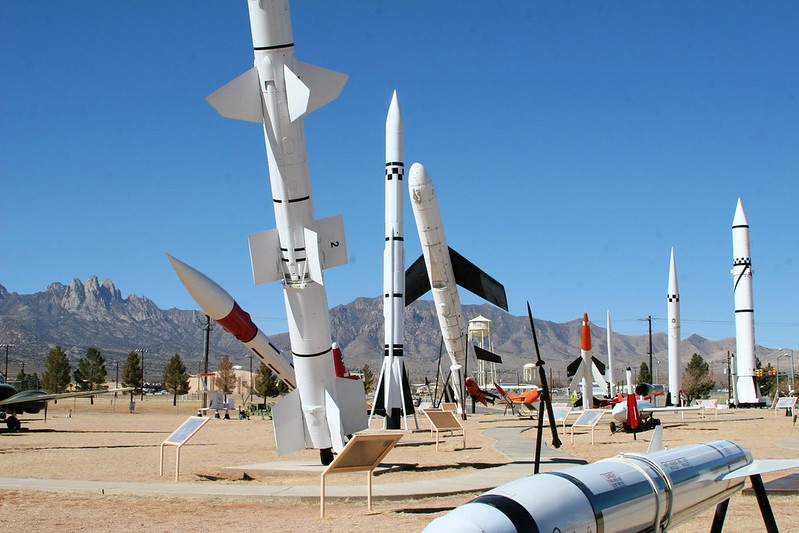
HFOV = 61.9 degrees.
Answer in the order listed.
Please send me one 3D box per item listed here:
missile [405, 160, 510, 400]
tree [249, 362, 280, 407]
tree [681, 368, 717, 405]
[{"bbox_3d":[2.465,0.282,31.201,4.883,2.449,10.157,-13,-52,9],"label":"missile"},{"bbox_3d":[-14.602,12.698,76.485,3.342,5.809,3.077,5,-6,10],"label":"tree"},{"bbox_3d":[37.353,15.139,85.922,4.123,4.371,3.713,3,-2,-28],"label":"tree"}]
